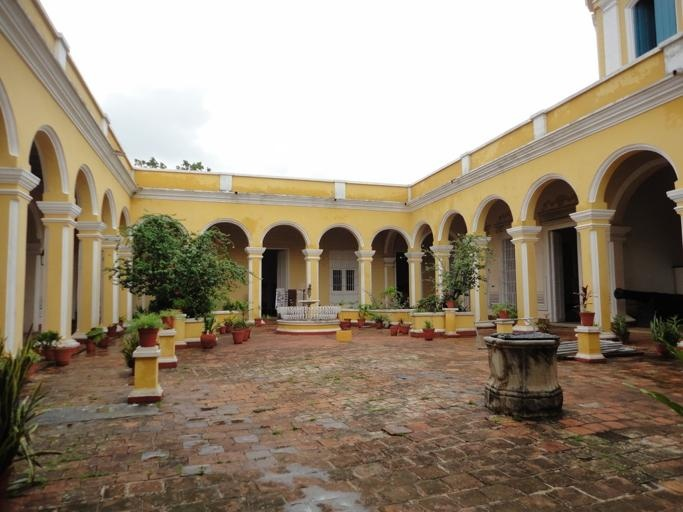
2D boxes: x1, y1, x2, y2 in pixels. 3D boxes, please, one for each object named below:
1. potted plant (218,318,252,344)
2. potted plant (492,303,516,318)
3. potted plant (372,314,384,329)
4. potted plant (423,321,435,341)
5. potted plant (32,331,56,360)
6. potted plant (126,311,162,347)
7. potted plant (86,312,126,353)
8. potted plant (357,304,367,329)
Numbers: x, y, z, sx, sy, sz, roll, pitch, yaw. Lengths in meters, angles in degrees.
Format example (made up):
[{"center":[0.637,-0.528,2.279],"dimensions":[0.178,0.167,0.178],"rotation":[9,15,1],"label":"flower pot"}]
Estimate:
[{"center":[-2.961,2.148,12.717],"dimensions":[0.889,0.401,1.109],"rotation":[2,0,-9],"label":"potted plant"},{"center":[4.711,1.617,12.714],"dimensions":[0.492,0.288,0.471],"rotation":[7,-9,-37],"label":"potted plant"},{"center":[1.451,2.521,16.660],"dimensions":[0.355,0.458,0.250],"rotation":[0,0,3],"label":"potted plant"},{"center":[2.694,2.312,13.483],"dimensions":[0.495,0.584,0.432],"rotation":[1,-14,1],"label":"potted plant"},{"center":[-5.744,1.764,8.603],"dimensions":[0.388,0.498,0.838],"rotation":[0,0,-33],"label":"potted plant"},{"center":[-2.969,1.114,6.644],"dimensions":[0.591,0.506,0.562],"rotation":[5,-13,-33],"label":"potted plant"},{"center":[-5.967,2.019,10.936],"dimensions":[0.674,0.653,1.694],"rotation":[0,-7,-5],"label":"potted plant"},{"center":[0.876,2.374,17.302],"dimensions":[0.370,0.797,0.470],"rotation":[0,0,0],"label":"potted plant"}]
